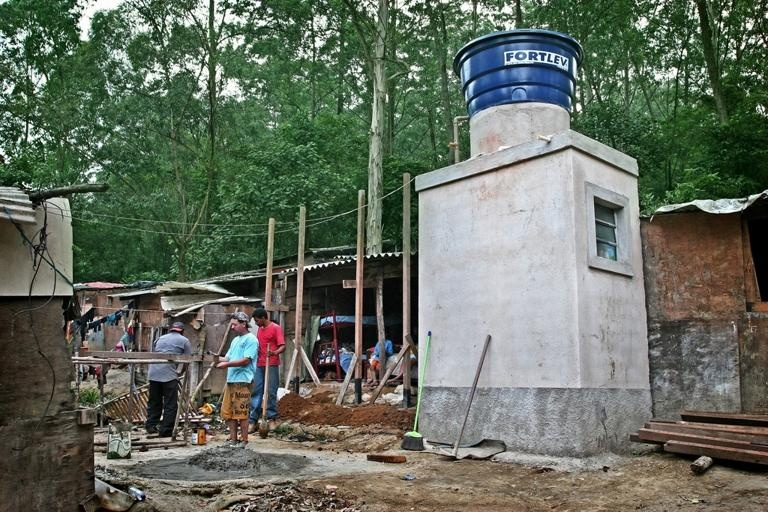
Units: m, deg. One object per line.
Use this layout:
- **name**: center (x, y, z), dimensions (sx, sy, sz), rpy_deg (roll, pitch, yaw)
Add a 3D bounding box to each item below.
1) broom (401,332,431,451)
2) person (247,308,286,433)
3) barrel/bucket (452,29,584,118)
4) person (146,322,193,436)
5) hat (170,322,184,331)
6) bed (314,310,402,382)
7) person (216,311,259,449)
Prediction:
- **broom**: center (0.756, 2.740, 16.281), dimensions (0.516, 2.437, 0.471), rpy_deg (18, -12, -39)
- **person**: center (-2.552, 2.445, 17.258), dimensions (0.836, 2.555, 0.885), rpy_deg (4, -4, 27)
- **barrel/bucket**: center (2.869, -3.885, 16.987), dimensions (2.558, 1.626, 0.915), rpy_deg (-2, -10, 8)
- **person**: center (-4.707, 2.637, 17.595), dimensions (0.897, 2.444, 0.863), rpy_deg (5, -2, 8)
- **hat**: center (-4.659, 1.563, 17.943), dimensions (0.283, 0.179, 0.368), rpy_deg (8, -3, -8)
- **bed**: center (-0.731, 2.555, 22.727), dimensions (1.486, 1.632, 2.354), rpy_deg (-4, -6, 42)
- **person**: center (-2.905, 2.361, 15.749), dimensions (0.752, 2.625, 1.106), rpy_deg (1, -10, -9)
